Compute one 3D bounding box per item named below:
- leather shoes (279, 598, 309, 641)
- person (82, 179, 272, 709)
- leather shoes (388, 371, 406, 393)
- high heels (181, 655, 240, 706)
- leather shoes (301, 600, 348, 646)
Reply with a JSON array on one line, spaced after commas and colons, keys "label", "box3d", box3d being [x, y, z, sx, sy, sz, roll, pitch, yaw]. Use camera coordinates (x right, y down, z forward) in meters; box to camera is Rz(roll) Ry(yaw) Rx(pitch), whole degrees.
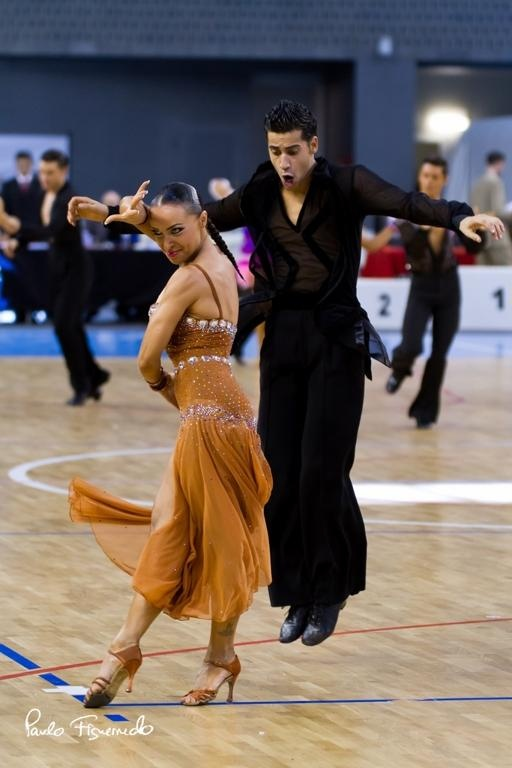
[{"label": "leather shoes", "box3d": [0.109, 0.691, 2.437, 0.050, 0.059, 0.150, 5, 23, 22]}, {"label": "person", "box3d": [-0.155, 0.129, 2.020, 0.429, 1.254, 0.360, 2, -2, -5]}, {"label": "leather shoes", "box3d": [1.334, -0.020, 7.896, 0.205, 0.176, 0.109, 9, 19, -26]}, {"label": "high heels", "box3d": [-0.098, 0.708, 2.002, 0.160, 0.109, 0.076, 5, -6, -21]}, {"label": "leather shoes", "box3d": [0.189, 0.682, 2.395, 0.063, 0.071, 0.184, 1, 16, 27]}]
